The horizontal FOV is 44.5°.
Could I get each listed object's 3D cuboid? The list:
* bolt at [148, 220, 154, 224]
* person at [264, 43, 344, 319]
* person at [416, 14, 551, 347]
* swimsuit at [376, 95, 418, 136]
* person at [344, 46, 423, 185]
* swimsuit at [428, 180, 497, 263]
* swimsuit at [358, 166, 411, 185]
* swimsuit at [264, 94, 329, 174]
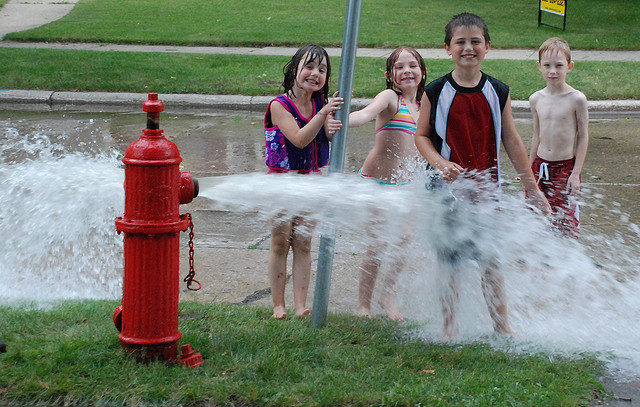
[{"bbox_3d":[-1.169,0.127,5.387,0.039,0.025,0.016,-5,15,-16],"label":"bolt"},{"bbox_3d":[-0.157,-0.167,6.403,0.598,2.226,0.749,-2,15,-3],"label":"person"},{"bbox_3d":[1.221,-0.207,6.139,0.923,2.518,0.758,-2,15,-2],"label":"person"},{"bbox_3d":[0.629,-0.742,6.524,0.324,0.328,0.139,-1,15,1],"label":"swimsuit"},{"bbox_3d":[0.611,-0.736,6.522,0.531,1.106,0.425,-2,15,-3],"label":"person"},{"bbox_3d":[1.101,0.145,6.159,0.490,0.645,0.146,1,16,7],"label":"swimsuit"},{"bbox_3d":[0.534,-0.223,6.529,0.429,0.115,0.312,0,13,3],"label":"swimsuit"},{"bbox_3d":[-0.118,-0.597,6.528,0.678,0.671,0.461,0,11,-16],"label":"swimsuit"}]
